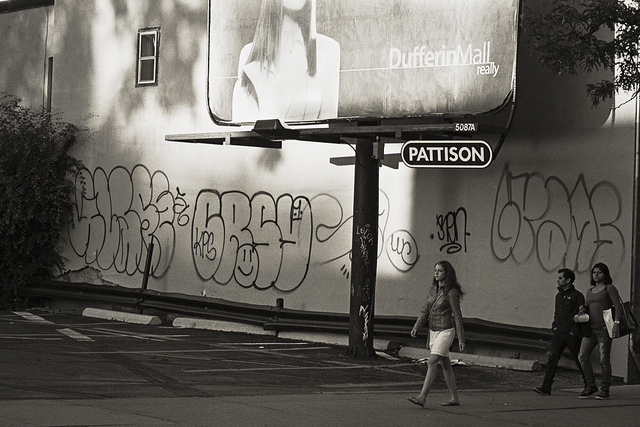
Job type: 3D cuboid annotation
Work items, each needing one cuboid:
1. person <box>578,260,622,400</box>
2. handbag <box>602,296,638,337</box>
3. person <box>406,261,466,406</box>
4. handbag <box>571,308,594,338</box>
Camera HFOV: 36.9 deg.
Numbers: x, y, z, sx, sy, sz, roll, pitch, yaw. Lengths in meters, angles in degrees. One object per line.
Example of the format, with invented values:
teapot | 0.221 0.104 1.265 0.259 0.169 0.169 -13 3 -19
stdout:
person | 5.491 2.302 18.807 0.811 2.586 0.681 3 3 15
handbag | 5.866 2.072 18.706 0.646 0.695 0.257 2 3 -4
person | 2.188 2.210 17.686 0.945 2.584 1.301 2 3 8
handbag | 5.184 2.184 18.933 0.381 0.565 0.252 1 7 37
